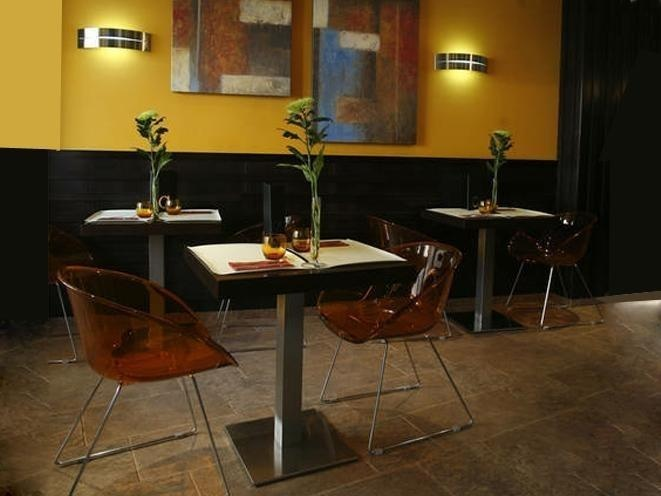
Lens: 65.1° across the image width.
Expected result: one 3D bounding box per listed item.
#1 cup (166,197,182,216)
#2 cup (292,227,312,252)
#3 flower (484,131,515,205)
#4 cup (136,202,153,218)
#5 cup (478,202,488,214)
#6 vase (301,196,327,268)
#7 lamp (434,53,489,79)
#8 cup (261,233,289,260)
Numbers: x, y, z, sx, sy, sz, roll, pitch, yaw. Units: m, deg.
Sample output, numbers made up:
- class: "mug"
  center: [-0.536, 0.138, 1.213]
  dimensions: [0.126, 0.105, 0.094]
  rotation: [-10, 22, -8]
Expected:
- class: "cup"
  center: [-1.312, -0.345, 4.313]
  dimensions: [0.126, 0.125, 0.128]
  rotation: [0, 6, 0]
- class: "cup"
  center: [-0.159, -0.049, 2.935]
  dimensions: [0.118, 0.120, 0.120]
  rotation: [1, 1, 0]
- class: "flower"
  center: [1.716, -0.789, 5.290]
  dimensions: [0.230, 0.795, 1.109]
  rotation: [5, 14, 16]
- class: "cup"
  center: [-1.500, -0.304, 4.171]
  dimensions: [0.118, 0.117, 0.120]
  rotation: [1, 0, 0]
- class: "cup"
  center: [1.448, -0.378, 4.900]
  dimensions: [0.099, 0.117, 0.098]
  rotation: [-1, 2, 0]
- class: "vase"
  center: [-0.072, -0.096, 2.804]
  dimensions: [0.165, 0.362, 0.165]
  rotation: [3, 2, 41]
- class: "lamp"
  center: [1.418, -1.977, 5.547]
  dimensions: [0.602, 0.174, 0.133]
  rotation: [-3, 14, -19]
- class: "cup"
  center: [-0.278, -0.012, 2.641]
  dimensions: [0.122, 0.123, 0.123]
  rotation: [1, 1, 0]
